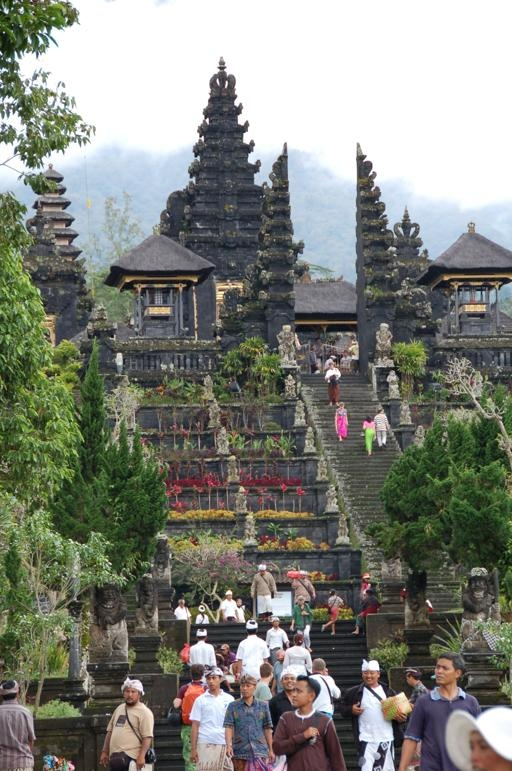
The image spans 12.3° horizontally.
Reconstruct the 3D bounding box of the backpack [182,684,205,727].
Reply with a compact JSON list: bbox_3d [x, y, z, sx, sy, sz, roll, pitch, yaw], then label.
[{"bbox_3d":[-0.708,3.538,26.279,0.194,0.503,0.647,-1,-1,-16],"label":"backpack"}]

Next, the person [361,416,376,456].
[{"bbox_3d":[2.433,1.047,49.765,0.278,0.803,0.985,-1,-1,3],"label":"person"}]

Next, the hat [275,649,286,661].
[{"bbox_3d":[0.315,3.256,28.806,0.109,0.159,0.148,-2,-8,1],"label":"hat"}]

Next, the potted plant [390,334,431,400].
[{"bbox_3d":[3.605,-0.376,55.544,0.725,1.244,1.478,-2,-1,12],"label":"potted plant"}]
